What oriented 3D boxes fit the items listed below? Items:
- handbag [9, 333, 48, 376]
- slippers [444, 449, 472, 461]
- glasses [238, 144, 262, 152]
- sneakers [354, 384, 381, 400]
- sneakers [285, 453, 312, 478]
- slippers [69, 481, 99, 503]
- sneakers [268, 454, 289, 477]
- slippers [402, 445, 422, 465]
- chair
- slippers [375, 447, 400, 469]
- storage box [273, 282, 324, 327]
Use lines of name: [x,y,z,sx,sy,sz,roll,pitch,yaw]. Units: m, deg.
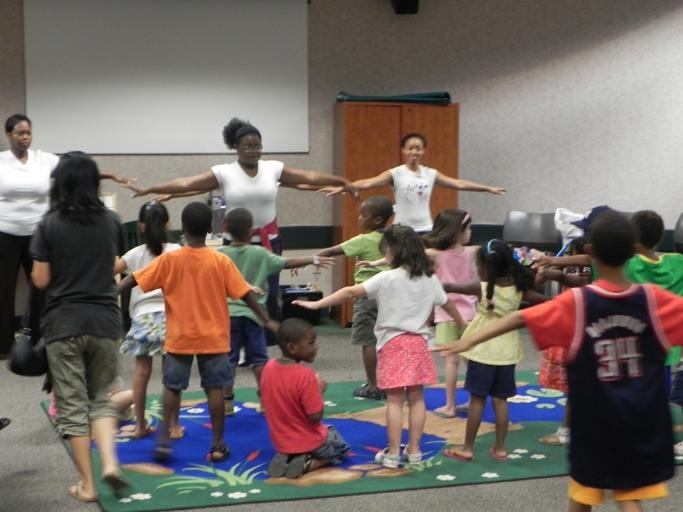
handbag: [-1.648,0.531,4.165,0.185,0.253,0.212,-6,12,-24]
slippers: [0.682,1.155,4.650,0.112,0.035,0.065,7,0,23]
glasses: [-0.612,-0.709,5.272,0.089,0.028,0.089,0,-4,-16]
sneakers: [0.193,0.976,5.698,0.221,0.089,0.079,4,0,23]
sneakers: [-0.240,1.168,4.449,0.082,0.177,0.083,3,-18,21]
slippers: [-1.347,1.230,4.147,0.100,0.064,0.169,14,3,-45]
sneakers: [-0.353,1.181,4.445,0.082,0.138,0.051,4,-24,18]
slippers: [0.406,1.159,4.614,0.059,0.059,0.156,0,1,0]
chair: [1.855,-0.186,8.042,0.676,1.064,0.677,5,40,9]
slippers: [0.262,1.171,4.590,0.075,0.070,0.151,1,1,-20]
storage box: [-0.379,0.509,7.774,0.410,0.339,0.312,-1,6,-12]
